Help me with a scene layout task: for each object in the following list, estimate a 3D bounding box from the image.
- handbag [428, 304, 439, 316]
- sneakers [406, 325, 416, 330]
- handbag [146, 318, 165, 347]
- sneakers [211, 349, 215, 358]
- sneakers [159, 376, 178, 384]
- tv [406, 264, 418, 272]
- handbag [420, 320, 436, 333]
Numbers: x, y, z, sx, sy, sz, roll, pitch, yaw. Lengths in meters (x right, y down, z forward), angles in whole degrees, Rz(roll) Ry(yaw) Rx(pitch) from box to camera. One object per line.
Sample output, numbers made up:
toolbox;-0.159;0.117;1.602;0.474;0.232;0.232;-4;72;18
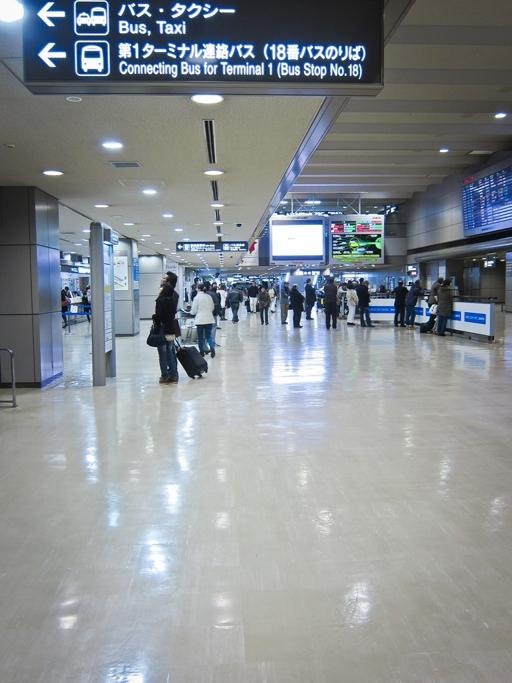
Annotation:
handbag;6.146;-1.136;16.099;0.232;0.473;0.370;24;13;1
sneakers;6.429;-0.605;19.233;0.410;0.280;0.107;8;20;4
handbag;-1.776;-0.142;8.245;0.310;0.407;0.271;-1;0;-9
sneakers;-1.065;0.274;11.340;0.076;0.188;0.165;-1;-2;-3
sneakers;-1.596;0.704;8.381;0.315;0.177;0.131;-6;4;-4
tv;10.134;-4.800;29.957;0.151;0.672;0.611;3;0;-45
handbag;6.169;-0.556;16.640;0.237;0.616;0.781;2;13;-1
